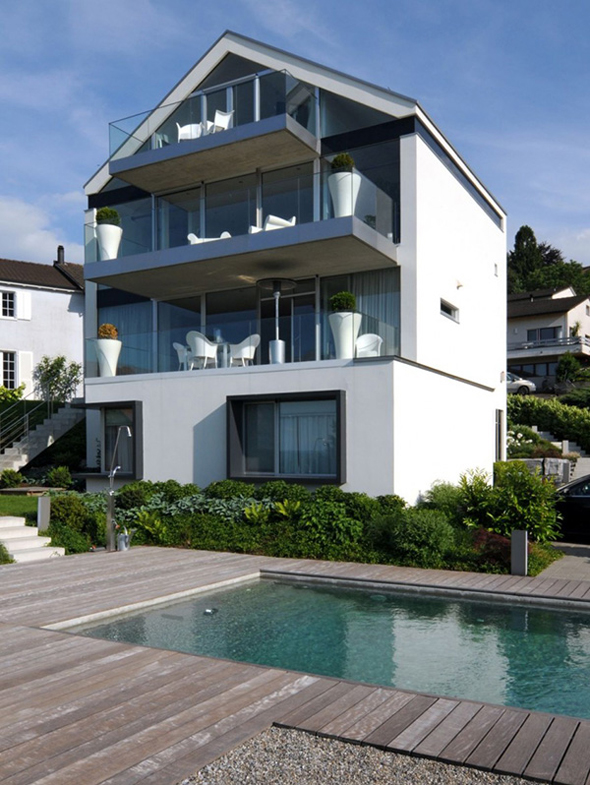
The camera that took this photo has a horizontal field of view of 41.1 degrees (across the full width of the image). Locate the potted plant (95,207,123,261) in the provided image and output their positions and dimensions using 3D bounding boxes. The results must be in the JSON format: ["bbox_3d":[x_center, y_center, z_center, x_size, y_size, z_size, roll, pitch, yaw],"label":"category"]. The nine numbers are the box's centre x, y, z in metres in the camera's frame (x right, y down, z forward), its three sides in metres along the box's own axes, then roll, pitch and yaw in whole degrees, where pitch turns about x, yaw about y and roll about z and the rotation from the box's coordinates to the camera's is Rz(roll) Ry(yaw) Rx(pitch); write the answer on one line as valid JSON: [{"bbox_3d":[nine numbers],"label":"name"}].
[{"bbox_3d":[-4.469,-3.773,18.848,0.767,1.244,0.285,-1,-4,19],"label":"potted plant"}]

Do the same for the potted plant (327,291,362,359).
[{"bbox_3d":[1.011,-1.265,14.998,0.539,1.318,0.835,2,-4,-14],"label":"potted plant"}]

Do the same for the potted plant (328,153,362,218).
[{"bbox_3d":[0.967,-4.067,15.480,0.619,1.472,0.884,0,-4,7],"label":"potted plant"}]

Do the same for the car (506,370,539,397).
[{"bbox_3d":[11.694,-0.430,39.853,2.112,0.995,1.153,-4,3,-16],"label":"car"}]

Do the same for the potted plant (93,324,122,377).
[{"bbox_3d":[-4.390,-0.982,18.589,0.858,1.269,0.403,-2,-5,39],"label":"potted plant"}]

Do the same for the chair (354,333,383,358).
[{"bbox_3d":[1.380,-0.863,14.749,0.463,0.391,0.461,0,-2,1],"label":"chair"}]

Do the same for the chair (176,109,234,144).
[{"bbox_3d":[-2.113,-6.120,18.164,1.334,0.819,0.741,7,11,31],"label":"chair"}]

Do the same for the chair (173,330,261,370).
[{"bbox_3d":[-1.701,-0.899,16.860,2.106,0.803,0.610,-2,-4,41],"label":"chair"}]
